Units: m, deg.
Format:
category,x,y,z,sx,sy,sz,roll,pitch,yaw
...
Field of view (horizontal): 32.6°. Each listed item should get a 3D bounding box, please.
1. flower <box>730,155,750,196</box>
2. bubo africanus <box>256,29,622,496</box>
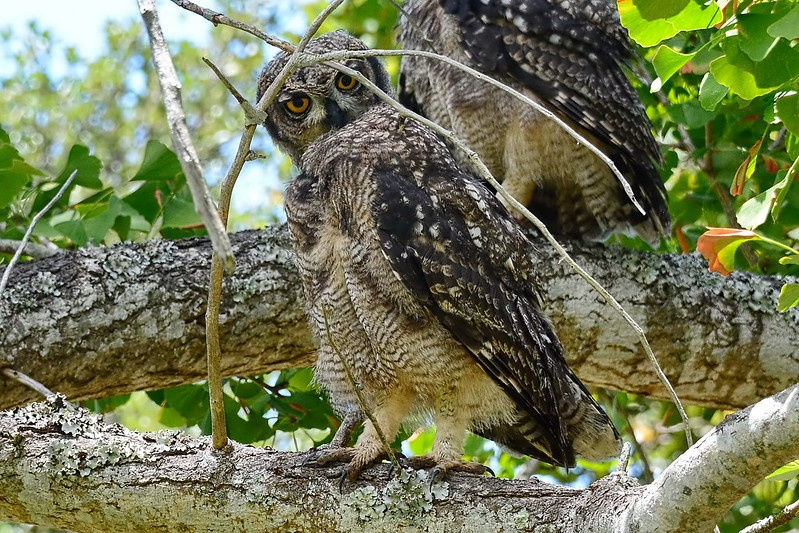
category,x,y,z,sx,sy,sz,roll,pitch,yaw
flower,1.576,-0.423,6.304,0.067,0.082,0.264,-51,-26,9
bubo africanus,0.015,0.044,6.284,1.162,2.273,0.917,-25,1,5
